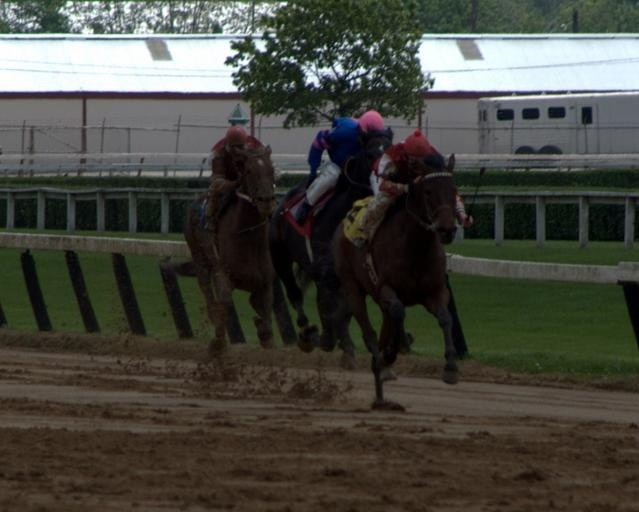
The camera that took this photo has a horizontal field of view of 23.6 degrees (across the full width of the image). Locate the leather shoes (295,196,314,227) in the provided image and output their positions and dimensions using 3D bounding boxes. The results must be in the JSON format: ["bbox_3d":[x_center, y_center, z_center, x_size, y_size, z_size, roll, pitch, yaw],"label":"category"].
[{"bbox_3d":[-0.222,-0.603,20.711,0.089,0.376,0.188,16,4,-43],"label":"leather shoes"}]

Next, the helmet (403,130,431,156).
[{"bbox_3d":[1.215,-1.436,19.459,0.245,0.259,0.351,-3,11,-12],"label":"helmet"}]

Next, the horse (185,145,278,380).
[{"bbox_3d":[-1.194,-0.133,21.821,1.170,3.002,1.591,-2,5,-2],"label":"horse"}]

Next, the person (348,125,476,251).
[{"bbox_3d":[1.046,-0.865,19.518,1.662,1.467,0.424,1,6,30],"label":"person"}]

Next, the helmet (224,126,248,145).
[{"bbox_3d":[-1.169,-1.705,21.668,0.330,0.254,0.384,-3,6,-4],"label":"helmet"}]
